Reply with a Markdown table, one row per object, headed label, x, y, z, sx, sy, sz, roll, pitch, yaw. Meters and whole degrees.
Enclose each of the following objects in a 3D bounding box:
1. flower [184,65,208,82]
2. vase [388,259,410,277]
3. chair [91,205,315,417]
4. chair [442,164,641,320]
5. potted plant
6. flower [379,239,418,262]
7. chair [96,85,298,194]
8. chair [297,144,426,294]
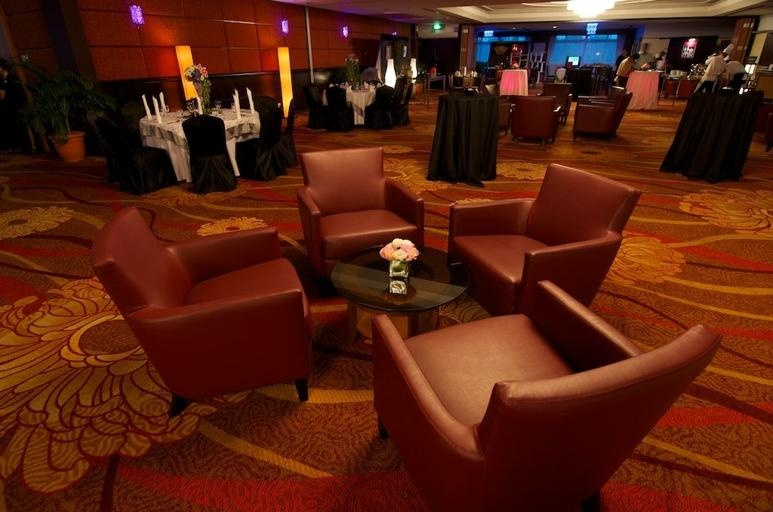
| label | x | y | z | sx | sy | sz | roll | pitch | yaw |
| --- | --- | --- | --- | --- | --- | --- | --- | --- | --- |
| flower | -2.630 | -2.498 | 6.640 | 0.264 | 0.187 | 0.263 | -7 | 26 | -12 |
| vase | 0.088 | 0.082 | 3.540 | 0.126 | 0.121 | 0.123 | 0 | 13 | 6 |
| chair | -1.210 | 0.270 | 3.553 | 1.461 | 1.134 | 1.349 | 7 | 29 | 9 |
| chair | 1.180 | -0.075 | 3.968 | 1.293 | 1.111 | 1.342 | 19 | 32 | 30 |
| potted plant | -4.739 | -2.127 | 7.525 | 1.399 | 1.245 | 1.241 | -11 | -13 | 10 |
| flower | 0.095 | -0.056 | 3.536 | 0.187 | 0.104 | 0.205 | 3 | 3 | -2 |
| chair | -2.634 | -1.660 | 6.791 | 2.456 | 1.111 | 1.846 | -14 | 28 | -25 |
| chair | -0.282 | -0.368 | 4.483 | 1.080 | 0.970 | 0.947 | -8 | 29 | -16 |
